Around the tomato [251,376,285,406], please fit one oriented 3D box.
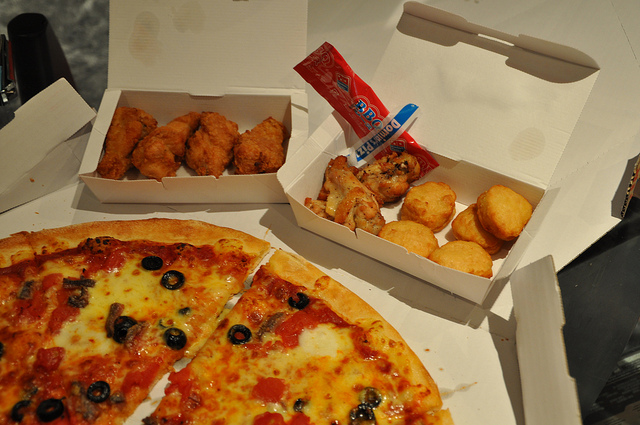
[{"bbox_3d":[-0.353,1.235,3.790,0.212,0.103,0.143,15,32,-2],"label":"tomato"}]
